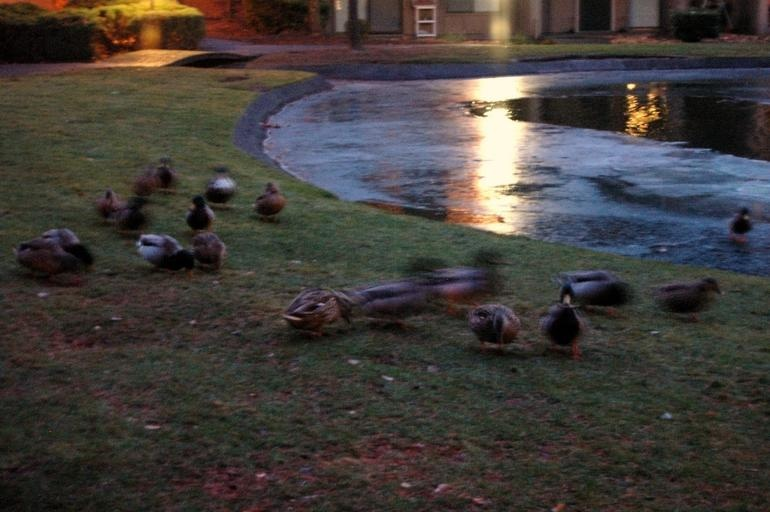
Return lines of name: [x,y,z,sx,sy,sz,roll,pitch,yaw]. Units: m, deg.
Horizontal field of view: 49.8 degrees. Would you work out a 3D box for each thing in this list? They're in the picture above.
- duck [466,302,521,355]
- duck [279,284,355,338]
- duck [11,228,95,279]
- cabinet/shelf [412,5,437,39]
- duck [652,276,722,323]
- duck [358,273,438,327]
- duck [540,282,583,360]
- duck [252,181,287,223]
duck: [0.905,0.582,6.941,0.367,0.369,0.314,9,17,37]
duck: [-0.603,0.452,7.144,0.391,0.293,0.596,8,13,34]
duck: [-3.164,-0.031,7.858,0.357,0.400,0.611,10,15,38]
cabinet/shelf: [2.081,-12.224,43.179,0.863,1.626,0.899,8,18,29]
duck: [2.763,0.373,7.590,0.575,0.335,0.506,1,11,10]
duck: [0.084,0.384,7.472,0.470,0.321,0.554,5,12,25]
duck: [1.466,0.564,6.893,0.337,0.518,0.268,1,16,7]
duck: [-1.372,-0.646,9.709,0.341,0.444,0.469,-3,13,-8]
